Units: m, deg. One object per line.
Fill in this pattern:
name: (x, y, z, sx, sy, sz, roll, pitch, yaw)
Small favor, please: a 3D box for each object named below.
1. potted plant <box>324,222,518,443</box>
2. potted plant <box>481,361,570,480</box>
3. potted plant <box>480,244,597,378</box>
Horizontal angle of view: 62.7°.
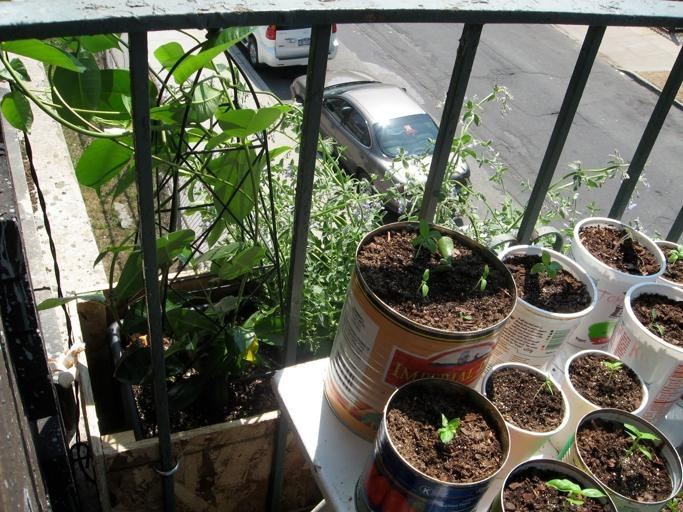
potted plant: (0.135, 0.113, 1.123, 0.357, 0.401, 0.360, 8, 39, -14)
potted plant: (0.297, 0.289, 1.027, 0.142, 0.126, 0.162, 2, 40, -18)
potted plant: (0.370, 0.106, 1.184, 0.229, 0.262, 0.238, 12, 47, 7)
